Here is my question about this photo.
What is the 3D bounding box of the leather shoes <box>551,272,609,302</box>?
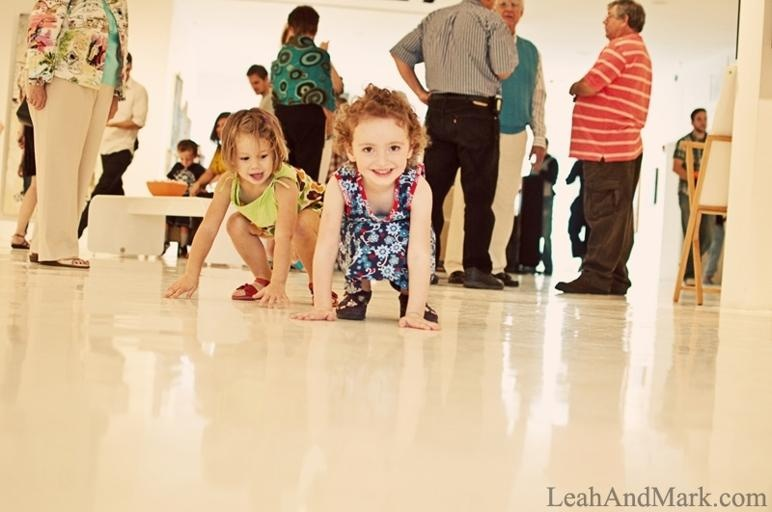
[{"bbox_3d":[1.002,0.159,3.209,0.325,0.141,0.112,3,-3,0],"label":"leather shoes"}]

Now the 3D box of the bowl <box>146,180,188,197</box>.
[{"bbox_3d":[-1.595,-0.474,4.477,0.176,0.072,0.181,0,0,0],"label":"bowl"}]

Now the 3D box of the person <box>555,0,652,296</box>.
[{"bbox_3d":[1.156,-0.578,3.343,0.505,1.583,0.379,3,-5,1],"label":"person"}]

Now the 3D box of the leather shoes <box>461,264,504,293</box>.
[{"bbox_3d":[0.469,0.126,3.122,0.210,0.091,0.087,2,1,-11],"label":"leather shoes"}]

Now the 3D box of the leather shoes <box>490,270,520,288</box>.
[{"bbox_3d":[0.713,0.134,3.697,0.081,0.086,0.216,4,6,15],"label":"leather shoes"}]

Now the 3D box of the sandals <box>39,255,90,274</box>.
[{"bbox_3d":[-1.403,0.028,2.753,0.243,0.064,0.096,-1,4,-6],"label":"sandals"}]
